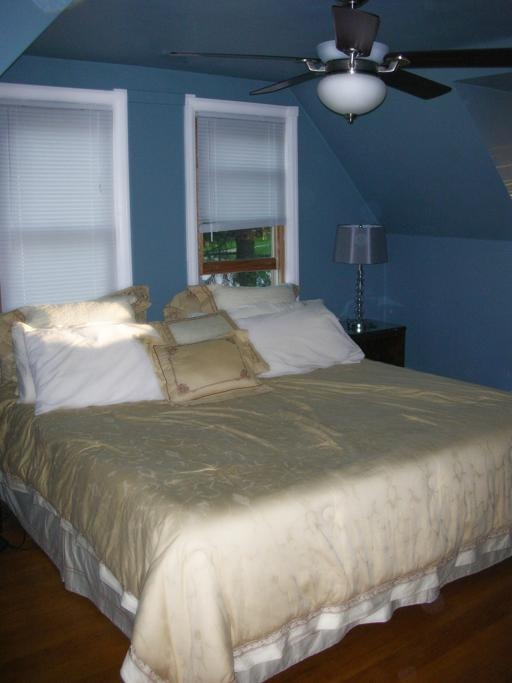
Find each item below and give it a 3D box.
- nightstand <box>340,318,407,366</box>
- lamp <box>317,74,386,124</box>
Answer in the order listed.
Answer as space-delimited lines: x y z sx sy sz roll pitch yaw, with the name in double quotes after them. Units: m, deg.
0.890 -0.017 4.520 0.545 0.473 0.372 -13 18 -43 "nightstand"
0.312 -0.790 1.876 0.168 0.103 0.158 -1 20 -1 "lamp"
